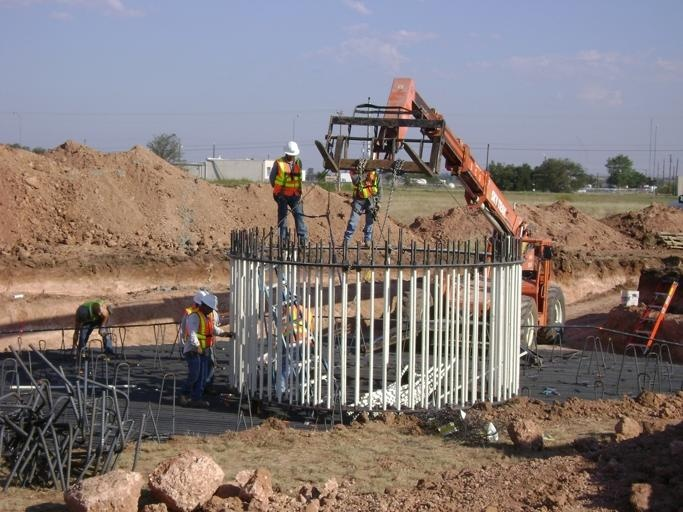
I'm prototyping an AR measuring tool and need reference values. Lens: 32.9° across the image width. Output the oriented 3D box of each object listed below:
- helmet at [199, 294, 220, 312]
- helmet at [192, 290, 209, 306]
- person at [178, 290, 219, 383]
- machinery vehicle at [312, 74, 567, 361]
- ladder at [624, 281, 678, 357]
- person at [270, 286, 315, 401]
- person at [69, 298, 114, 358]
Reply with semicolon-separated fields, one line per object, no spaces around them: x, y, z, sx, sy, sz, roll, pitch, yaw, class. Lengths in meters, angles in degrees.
-2.870;0.990;24.823;0.354;0.220;0.266;24;8;34;helmet
-3.073;0.882;25.041;0.323;0.295;0.544;-1;-1;-12;helmet
-3.077;1.886;24.942;0.684;2.235;0.410;-2;6;-9;person
3.098;-0.446;28.803;2.211;5.913;7.903;0;-1;33;machinery vehicle
8.271;1.658;31.184;0.953;1.713;2.206;2;7;29;ladder
-1.043;1.854;24.472;0.796;2.341;1.380;-1;6;-4;person
-6.331;1.875;29.213;0.702;1.250;0.781;-12;40;-26;person
